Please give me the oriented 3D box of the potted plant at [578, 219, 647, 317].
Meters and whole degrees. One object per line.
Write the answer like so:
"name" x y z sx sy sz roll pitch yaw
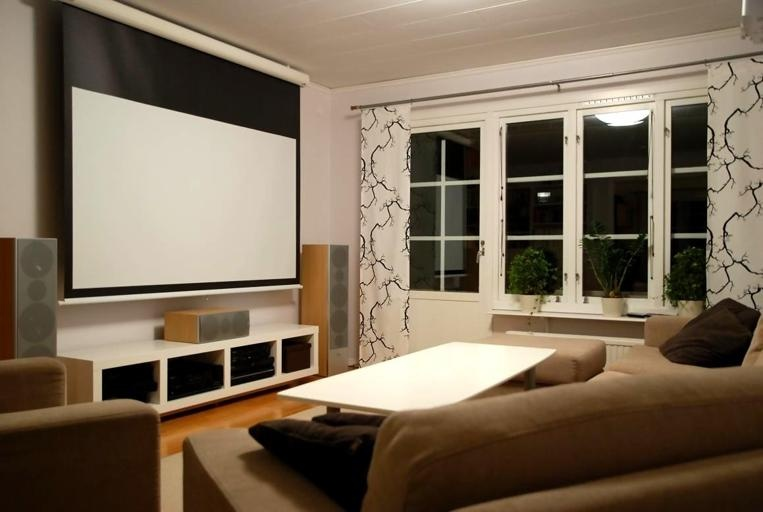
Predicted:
"potted plant" 2.301 0.139 5.040 0.760 0.962 0.688 1 -2 4

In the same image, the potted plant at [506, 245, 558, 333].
"potted plant" 1.507 0.281 5.402 0.633 0.851 0.594 1 1 36
